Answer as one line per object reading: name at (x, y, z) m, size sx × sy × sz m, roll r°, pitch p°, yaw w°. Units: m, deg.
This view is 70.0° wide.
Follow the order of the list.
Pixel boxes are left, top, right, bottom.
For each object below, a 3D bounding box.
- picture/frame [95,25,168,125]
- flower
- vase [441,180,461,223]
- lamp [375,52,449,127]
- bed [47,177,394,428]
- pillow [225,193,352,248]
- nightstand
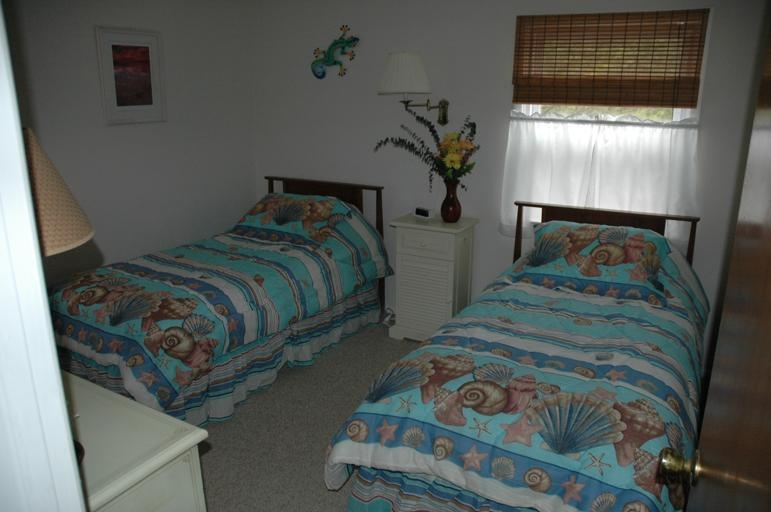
picture/frame at (-1.939, -1.379, 4.234) m, size 0.495 × 0.680 × 0.058 m, roll 1°, pitch 11°, yaw 1°
flower at (0.380, -0.839, 4.281) m, size 0.586 × 0.429 × 0.757 m, roll 0°, pitch 17°, yaw -7°
vase at (0.510, -0.413, 4.287) m, size 0.160 × 0.324 × 0.157 m, roll -7°, pitch -17°, yaw 35°
lamp at (0.135, -1.251, 4.326) m, size 0.472 × 0.621 × 0.585 m, roll 8°, pitch 11°, yaw 43°
bed at (-1.090, 0.251, 3.790) m, size 1.241 × 1.001 × 1.875 m, roll 13°, pitch 20°, yaw 31°
pillow at (-0.685, -0.322, 4.360) m, size 0.694 × 0.189 × 0.461 m, roll 9°, pitch 30°, yaw 31°
nightstand at (0.392, 0.193, 4.372) m, size 0.595 × 0.945 × 0.494 m, roll 7°, pitch 15°, yaw 22°
